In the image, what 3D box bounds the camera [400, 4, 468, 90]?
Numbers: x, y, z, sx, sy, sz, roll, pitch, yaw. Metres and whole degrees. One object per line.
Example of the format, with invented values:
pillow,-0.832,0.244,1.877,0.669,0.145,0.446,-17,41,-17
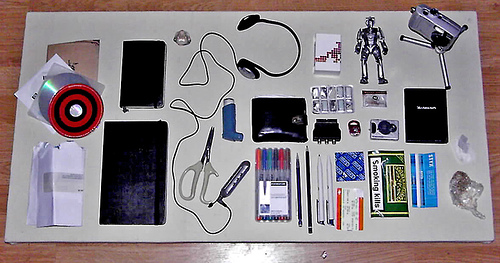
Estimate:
camera,1.457,-0.648,3.704,0.448,0.418,0.455,29,66,20
